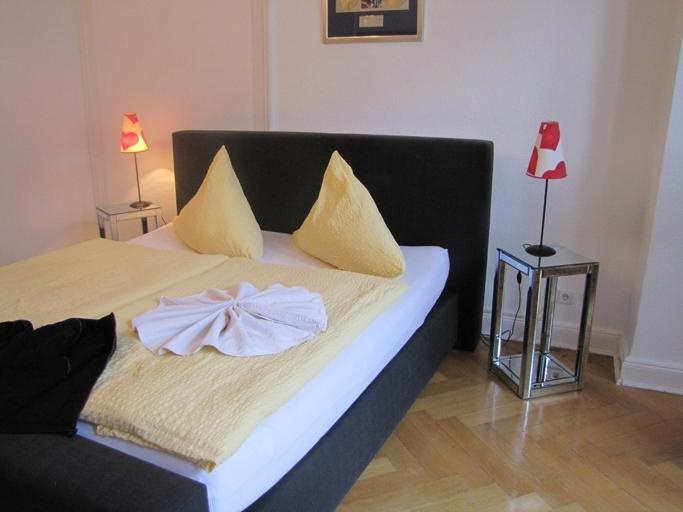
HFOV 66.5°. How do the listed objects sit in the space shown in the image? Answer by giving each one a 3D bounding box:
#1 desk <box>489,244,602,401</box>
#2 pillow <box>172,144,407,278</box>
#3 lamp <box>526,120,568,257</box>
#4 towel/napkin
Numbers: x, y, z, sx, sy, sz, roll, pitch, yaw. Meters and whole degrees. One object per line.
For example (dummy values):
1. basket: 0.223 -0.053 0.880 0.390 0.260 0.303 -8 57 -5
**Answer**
1. desk: 1.053 0.343 2.773 0.491 0.713 0.508 10 18 34
2. pillow: -0.296 -0.268 2.844 1.338 0.564 0.467 4 19 14
3. lamp: 1.055 -0.341 2.709 0.178 0.701 0.531 6 20 21
4. towel/napkin: -0.395 0.255 2.004 0.362 0.069 0.387 2 19 4
